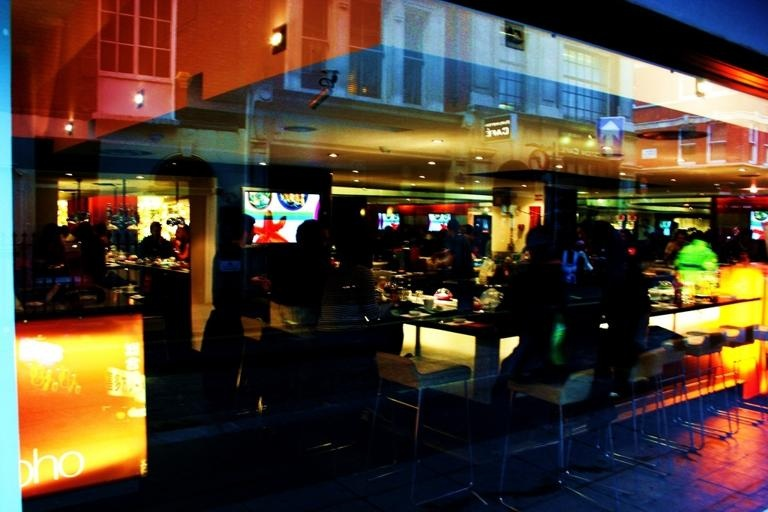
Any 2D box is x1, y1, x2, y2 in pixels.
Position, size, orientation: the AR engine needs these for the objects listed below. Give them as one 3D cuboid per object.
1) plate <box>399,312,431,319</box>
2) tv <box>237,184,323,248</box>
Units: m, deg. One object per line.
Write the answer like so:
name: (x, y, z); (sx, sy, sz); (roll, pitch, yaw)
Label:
plate: (0.304, 0.570, 6.028); (0.267, 0.061, 0.199); (3, 7, 32)
tv: (-2.018, -0.767, 11.624); (1.751, 0.799, 0.170); (2, 2, -28)
